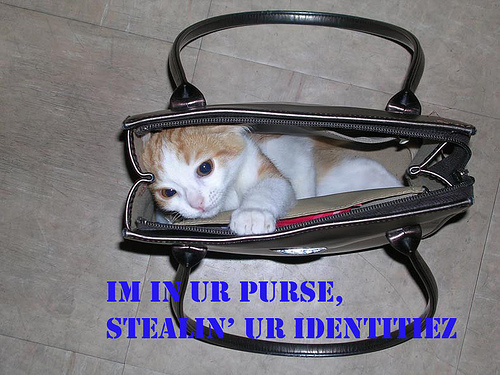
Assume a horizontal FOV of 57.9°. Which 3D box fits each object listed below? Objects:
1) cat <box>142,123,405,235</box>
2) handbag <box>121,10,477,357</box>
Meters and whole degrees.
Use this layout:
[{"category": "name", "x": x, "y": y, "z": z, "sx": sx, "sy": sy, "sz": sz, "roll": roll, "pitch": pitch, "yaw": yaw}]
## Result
[{"category": "cat", "x": 0.056, "y": -0.020, "z": 1.327, "sx": 0.653, "sy": 0.230, "sz": 0.357, "roll": 1, "pitch": 57, "yaw": -16}, {"category": "handbag", "x": 0.154, "y": -0.075, "z": 1.297, "sx": 0.897, "sy": 0.359, "sz": 1.121, "roll": 2, "pitch": 80, "yaw": -2}]
